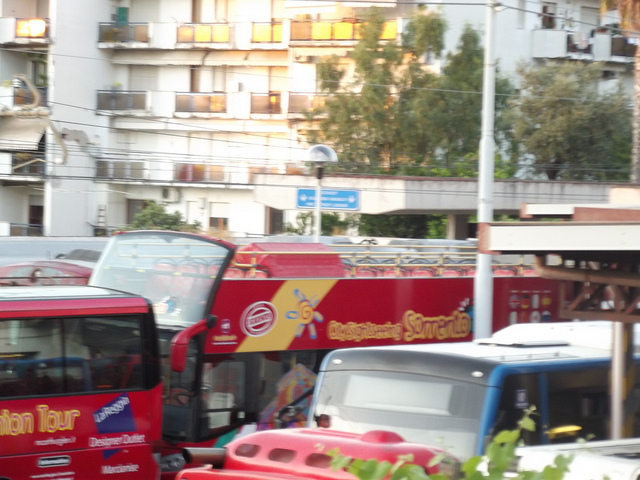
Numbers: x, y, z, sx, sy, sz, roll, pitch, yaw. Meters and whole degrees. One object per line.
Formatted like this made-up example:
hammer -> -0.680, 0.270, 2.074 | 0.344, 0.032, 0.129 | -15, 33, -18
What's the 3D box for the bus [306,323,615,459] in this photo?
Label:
bus -> 4.098, 4.370, 34.160 | 4.666, 3.234, 10.564 | 4, -2, 27
